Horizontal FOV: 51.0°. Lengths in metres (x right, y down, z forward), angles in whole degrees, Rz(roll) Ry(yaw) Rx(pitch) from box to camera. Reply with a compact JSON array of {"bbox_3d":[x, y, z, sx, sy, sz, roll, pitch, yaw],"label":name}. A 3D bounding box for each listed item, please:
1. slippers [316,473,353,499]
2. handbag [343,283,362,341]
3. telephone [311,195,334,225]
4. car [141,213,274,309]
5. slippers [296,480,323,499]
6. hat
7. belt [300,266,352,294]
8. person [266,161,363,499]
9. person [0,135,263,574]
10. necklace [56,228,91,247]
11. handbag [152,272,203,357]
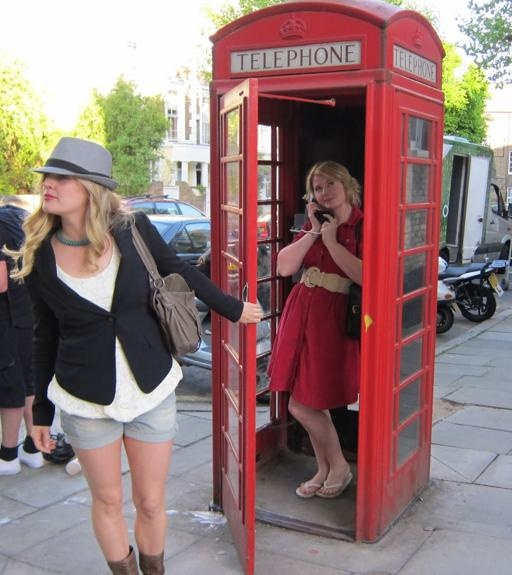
[{"bbox_3d":[0.447,1.178,3.143,0.094,0.056,0.233,2,11,42],"label":"slippers"},{"bbox_3d":[0.513,0.128,2.843,0.052,0.287,0.175,-2,4,-16],"label":"handbag"},{"bbox_3d":[0.381,-0.441,3.018,0.114,0.038,0.113,38,-21,17],"label":"telephone"},{"bbox_3d":[-0.795,-0.670,9.633,2.248,1.126,1.089,-6,9,-32],"label":"car"},{"bbox_3d":[0.302,1.189,3.157,0.136,0.044,0.074,1,-1,-37],"label":"slippers"},{"bbox_3d":[-0.565,-0.395,1.701,0.213,0.099,0.173,20,2,-24],"label":"hat"},{"bbox_3d":[0.372,-0.034,2.926,0.170,0.065,0.164,26,-5,-43],"label":"belt"},{"bbox_3d":[0.335,0.267,3.034,0.528,1.939,0.426,-1,4,7],"label":"person"},{"bbox_3d":[-0.469,0.307,1.894,0.703,1.600,0.347,-3,4,-25],"label":"person"},{"bbox_3d":[-0.613,-0.163,1.777,0.143,0.058,0.051,2,5,41],"label":"necklace"},{"bbox_3d":[-0.279,0.089,1.848,0.117,0.251,0.204,-5,28,12],"label":"handbag"}]
